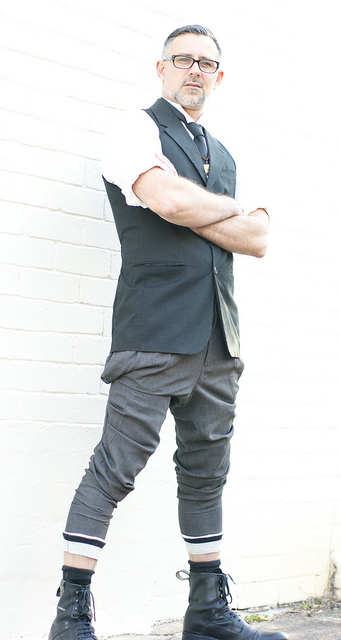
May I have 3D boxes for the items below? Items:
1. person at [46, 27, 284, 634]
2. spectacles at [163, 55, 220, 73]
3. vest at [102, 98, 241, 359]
[{"bbox_3d":[0.022,0.014,1.886,0.418,1.764,0.592,-11,-16,42],"label":"person"},{"bbox_3d":[0.060,-0.767,1.932,0.168,0.068,0.058,0,-12,3],"label":"spectacles"},{"bbox_3d":[0.010,-0.276,1.878,0.393,0.776,0.267,0,-12,0],"label":"vest"}]
